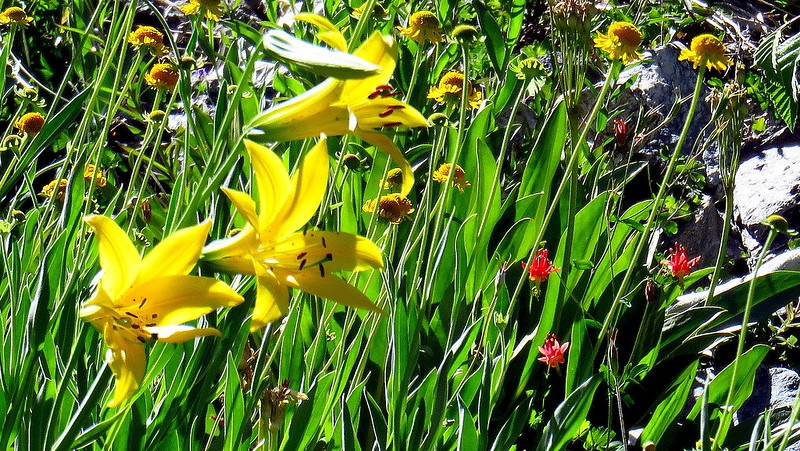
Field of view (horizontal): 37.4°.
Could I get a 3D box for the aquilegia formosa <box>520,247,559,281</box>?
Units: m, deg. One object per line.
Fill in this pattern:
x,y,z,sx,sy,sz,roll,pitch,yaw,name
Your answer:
0.654,0.192,5.479,0.121,0.153,0.142,4,-17,15,aquilegia formosa

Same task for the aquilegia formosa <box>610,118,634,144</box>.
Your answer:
1.143,-0.479,6.071,0.075,0.098,0.262,-19,-28,6,aquilegia formosa
